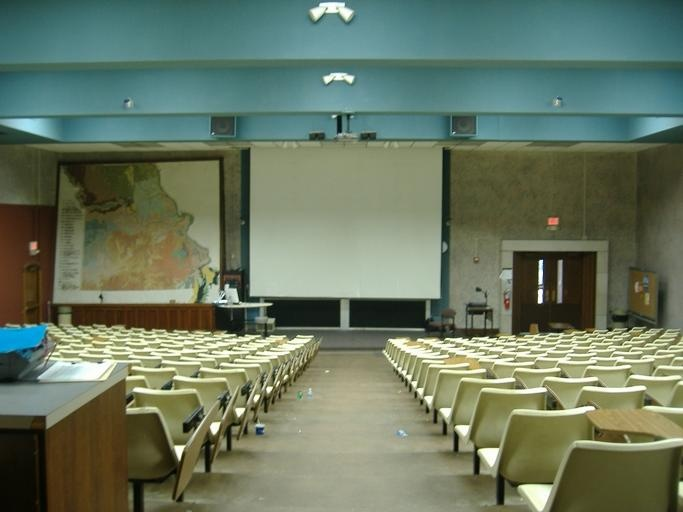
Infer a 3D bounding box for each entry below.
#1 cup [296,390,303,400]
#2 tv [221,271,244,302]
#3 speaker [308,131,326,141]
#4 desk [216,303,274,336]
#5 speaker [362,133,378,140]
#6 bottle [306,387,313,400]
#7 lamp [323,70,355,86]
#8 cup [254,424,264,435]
[{"bbox_3d":[-0.613,2.118,9.699,0.076,0.138,0.086,1,1,-13],"label":"cup"},{"bbox_3d":[-3.252,0.913,19.294,0.595,0.929,0.925,-1,1,0],"label":"tv"},{"bbox_3d":[-0.465,-2.293,12.389,0.251,0.154,0.193,-2,5,3],"label":"speaker"},{"bbox_3d":[-2.735,1.988,18.624,1.054,0.744,1.351,0,2,-8],"label":"desk"},{"bbox_3d":[0.535,-2.301,12.433,0.185,0.128,0.253,0,0,-1],"label":"speaker"},{"bbox_3d":[-0.483,2.131,9.892,0.106,0.200,0.112,1,5,0],"label":"bottle"},{"bbox_3d":[-0.032,-2.963,10.744,0.559,0.210,0.248,-1,1,-3],"label":"lamp"},{"bbox_3d":[-0.954,2.036,7.545,0.110,0.097,0.100,0,-4,-5],"label":"cup"}]
